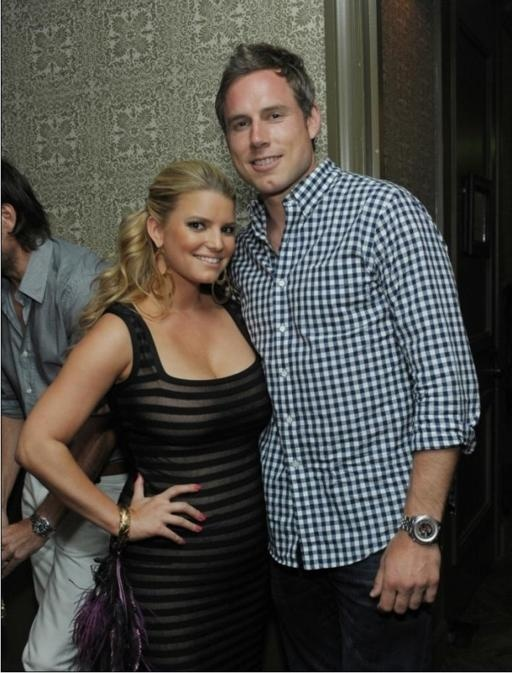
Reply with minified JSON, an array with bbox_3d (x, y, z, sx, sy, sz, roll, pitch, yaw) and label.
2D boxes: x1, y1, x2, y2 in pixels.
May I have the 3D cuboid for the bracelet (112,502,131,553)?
[{"bbox_3d":[-0.243,0.357,1.149,0.029,0.071,0.057,4,-6,-3],"label":"bracelet"}]

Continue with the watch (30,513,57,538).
[{"bbox_3d":[-0.511,0.454,1.505,0.040,0.048,0.059,-33,1,-23],"label":"watch"}]

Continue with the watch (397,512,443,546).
[{"bbox_3d":[0.262,0.307,0.986,0.059,0.060,0.040,-8,33,50],"label":"watch"}]

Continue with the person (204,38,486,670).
[{"bbox_3d":[0.158,0.079,1.193,0.316,1.299,0.549,-11,12,-21],"label":"person"}]
